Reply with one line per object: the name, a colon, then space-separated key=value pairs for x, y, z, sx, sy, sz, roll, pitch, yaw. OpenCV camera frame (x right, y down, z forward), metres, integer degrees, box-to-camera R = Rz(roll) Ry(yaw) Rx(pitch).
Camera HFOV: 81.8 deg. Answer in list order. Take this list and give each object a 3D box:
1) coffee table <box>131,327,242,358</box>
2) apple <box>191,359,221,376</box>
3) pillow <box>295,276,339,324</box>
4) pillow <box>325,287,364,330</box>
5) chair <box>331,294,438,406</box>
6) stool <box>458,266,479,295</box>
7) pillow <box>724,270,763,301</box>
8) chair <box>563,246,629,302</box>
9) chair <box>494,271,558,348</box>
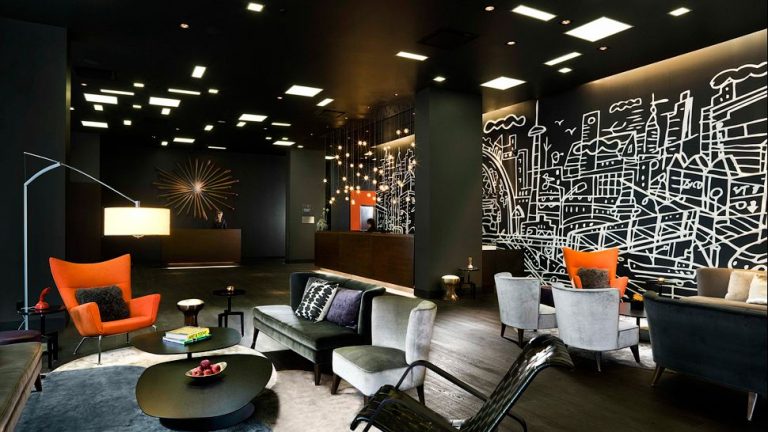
coffee table: x=-2.950 y=1.953 z=6.660 sx=1.536 sy=0.374 sz=0.777 roll=0 pitch=0 yaw=-17
apple: x=-2.376 y=2.026 z=6.014 sx=0.256 sy=0.106 sz=0.261 roll=-1 pitch=-3 yaw=24
pillow: x=-1.100 y=1.410 z=7.333 sx=0.710 sy=0.640 sz=0.217 roll=17 pitch=-10 yaw=46
pillow: x=-0.583 y=1.468 z=7.028 sx=0.585 sy=0.547 sz=0.178 roll=5 pitch=-15 yaw=41
chair: x=0.021 y=1.880 z=6.729 sx=1.534 sy=1.550 sz=1.522 roll=6 pitch=-6 yaw=-29
stool: x=1.928 y=1.614 z=10.940 sx=0.693 sy=0.692 sz=0.647 roll=-2 pitch=-8 yaw=13
pillow: x=6.419 y=1.261 z=7.911 sx=0.212 sy=0.355 sz=0.562 roll=0 pitch=-2 yaw=-32
chair: x=4.529 y=1.314 z=9.600 sx=1.301 sy=1.329 sz=1.207 roll=-1 pitch=-15 yaw=9
chair: x=2.332 y=1.714 z=8.310 sx=1.241 sy=1.231 sz=1.296 roll=1 pitch=-1 yaw=-19
